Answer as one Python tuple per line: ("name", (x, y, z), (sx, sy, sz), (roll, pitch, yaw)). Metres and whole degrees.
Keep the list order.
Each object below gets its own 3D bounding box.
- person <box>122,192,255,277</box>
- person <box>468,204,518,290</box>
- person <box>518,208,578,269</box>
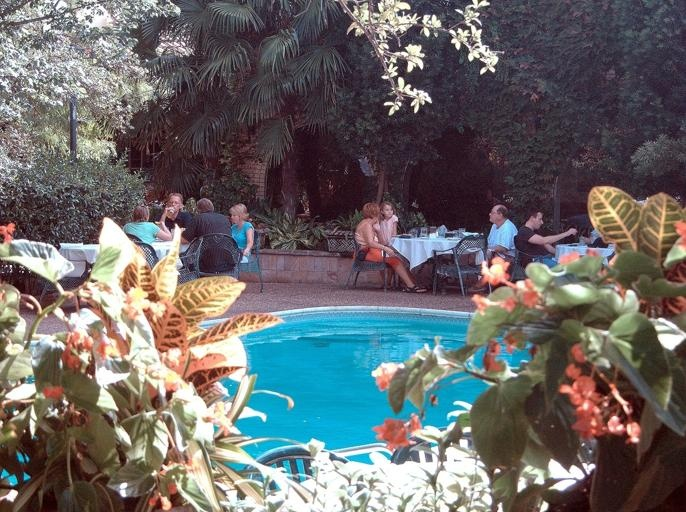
("person", (-1.642, -0.222, 7.842), (0.866, 1.030, 1.700), (1, 6, -1))
("person", (2.152, -0.140, 8.208), (0.385, 1.100, 0.878), (2, 5, 15))
("person", (2.658, -0.059, 7.804), (0.642, 1.098, 0.494), (-3, 22, 22))
